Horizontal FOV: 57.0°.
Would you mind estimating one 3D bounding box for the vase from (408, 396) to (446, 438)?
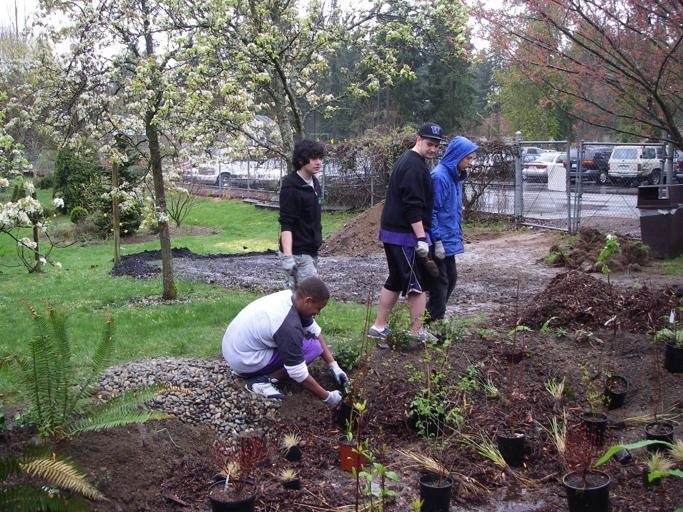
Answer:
[{"bbox_3d":[0.869,1.507,5.919,0.363,0.403,0.352,-1,3,13],"label":"vase"}]

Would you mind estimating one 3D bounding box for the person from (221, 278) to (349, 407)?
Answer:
[{"bbox_3d":[-0.519,0.814,6.340,1.225,1.238,0.985,11,20,-2],"label":"person"}]

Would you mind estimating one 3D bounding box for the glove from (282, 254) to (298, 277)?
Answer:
[{"bbox_3d":[-0.580,0.092,6.944,0.135,0.223,0.207,-3,-3,10],"label":"glove"}]

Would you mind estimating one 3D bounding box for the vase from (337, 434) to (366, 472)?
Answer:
[{"bbox_3d":[0.155,1.775,5.566,0.282,0.254,0.317,0,-12,21],"label":"vase"}]

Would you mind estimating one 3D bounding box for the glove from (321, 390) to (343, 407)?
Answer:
[{"bbox_3d":[-0.077,1.359,5.944,0.117,0.090,0.155,-1,-10,-29],"label":"glove"}]

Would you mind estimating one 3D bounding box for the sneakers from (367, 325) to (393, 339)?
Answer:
[{"bbox_3d":[0.425,0.865,7.093,0.276,0.144,0.106,11,11,-12],"label":"sneakers"}]

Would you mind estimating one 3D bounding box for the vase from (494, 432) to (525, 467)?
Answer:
[{"bbox_3d":[1.468,1.665,5.562,0.235,0.263,0.246,-6,13,-26],"label":"vase"}]

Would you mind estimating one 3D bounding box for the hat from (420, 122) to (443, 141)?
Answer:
[{"bbox_3d":[0.980,-1.383,6.975,0.259,0.218,0.309,1,5,7],"label":"hat"}]

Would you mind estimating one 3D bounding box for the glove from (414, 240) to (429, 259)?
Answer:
[{"bbox_3d":[0.878,-0.075,6.902,0.124,0.181,0.174,-2,0,9],"label":"glove"}]

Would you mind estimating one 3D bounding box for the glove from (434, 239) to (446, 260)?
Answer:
[{"bbox_3d":[1.105,-0.064,7.119,0.136,0.179,0.177,6,-4,-37],"label":"glove"}]

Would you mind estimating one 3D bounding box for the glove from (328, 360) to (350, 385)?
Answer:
[{"bbox_3d":[-0.035,1.196,6.303,0.076,0.248,0.151,-27,-9,-31],"label":"glove"}]

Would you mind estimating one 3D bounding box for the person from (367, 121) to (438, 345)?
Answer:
[{"bbox_3d":[0.721,-0.264,6.996,0.710,2.401,0.403,1,5,8],"label":"person"}]

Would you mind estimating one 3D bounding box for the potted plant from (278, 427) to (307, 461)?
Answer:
[{"bbox_3d":[-0.431,1.733,5.691,0.182,0.213,0.102,-6,-19,20],"label":"potted plant"}]

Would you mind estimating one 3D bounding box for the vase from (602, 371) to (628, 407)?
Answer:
[{"bbox_3d":[2.641,1.277,6.110,0.237,0.242,0.302,0,15,0],"label":"vase"}]

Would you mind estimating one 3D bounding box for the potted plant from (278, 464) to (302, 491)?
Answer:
[{"bbox_3d":[-0.455,1.885,5.327,0.146,0.082,0.159,-1,0,-32],"label":"potted plant"}]

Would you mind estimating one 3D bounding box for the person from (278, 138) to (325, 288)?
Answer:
[{"bbox_3d":[-0.451,-0.471,7.003,0.494,1.673,0.609,0,5,0],"label":"person"}]
